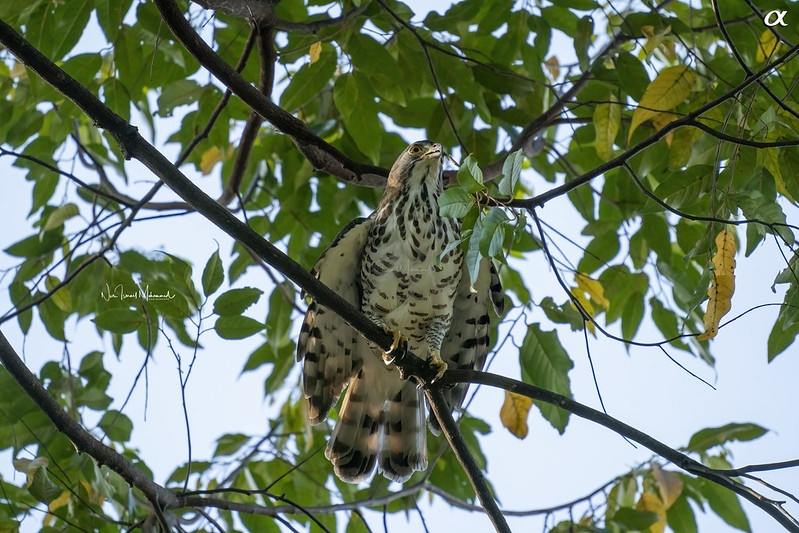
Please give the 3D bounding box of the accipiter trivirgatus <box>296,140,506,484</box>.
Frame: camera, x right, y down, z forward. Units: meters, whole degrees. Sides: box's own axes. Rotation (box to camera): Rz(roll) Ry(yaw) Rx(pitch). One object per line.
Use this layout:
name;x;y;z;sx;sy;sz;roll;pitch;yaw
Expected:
accipiter trivirgatus;-0.076;0.309;9.707;1.141;1.288;2.504;5;-77;-18
